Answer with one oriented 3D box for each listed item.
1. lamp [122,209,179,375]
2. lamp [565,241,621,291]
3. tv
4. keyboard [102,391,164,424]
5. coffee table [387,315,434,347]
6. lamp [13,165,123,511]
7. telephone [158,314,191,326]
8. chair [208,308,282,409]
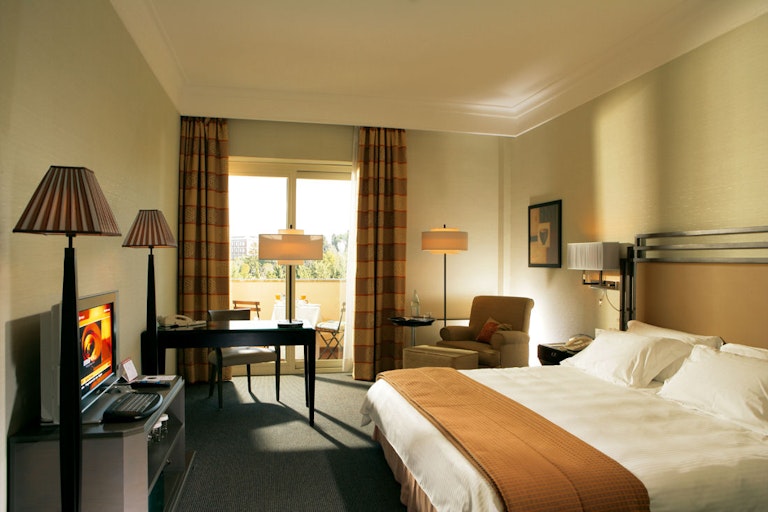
[{"bbox_3d":[-2.121,0.365,4.806,0.423,1.619,0.625,-12,18,-36],"label":"lamp"},{"bbox_3d":[2.177,0.086,5.514,0.242,0.447,0.466,-3,1,-28],"label":"lamp"},{"bbox_3d":[-1.948,0.651,3.306,0.286,0.723,0.870,0,0,-8],"label":"tv"},{"bbox_3d":[-1.704,1.029,3.589,0.308,0.052,0.507,6,-1,-8],"label":"keyboard"},{"bbox_3d":[0.391,0.868,6.760,0.449,0.509,0.439,-4,6,-44],"label":"coffee table"},{"bbox_3d":[-1.787,0.449,3.029,0.504,1.880,0.722,-6,15,-18],"label":"lamp"},{"bbox_3d":[-2.057,0.634,5.139,0.206,0.072,0.146,3,-5,-32],"label":"telephone"},{"bbox_3d":[-1.793,1.171,6.215,0.995,1.414,0.988,4,-14,-29],"label":"chair"}]
